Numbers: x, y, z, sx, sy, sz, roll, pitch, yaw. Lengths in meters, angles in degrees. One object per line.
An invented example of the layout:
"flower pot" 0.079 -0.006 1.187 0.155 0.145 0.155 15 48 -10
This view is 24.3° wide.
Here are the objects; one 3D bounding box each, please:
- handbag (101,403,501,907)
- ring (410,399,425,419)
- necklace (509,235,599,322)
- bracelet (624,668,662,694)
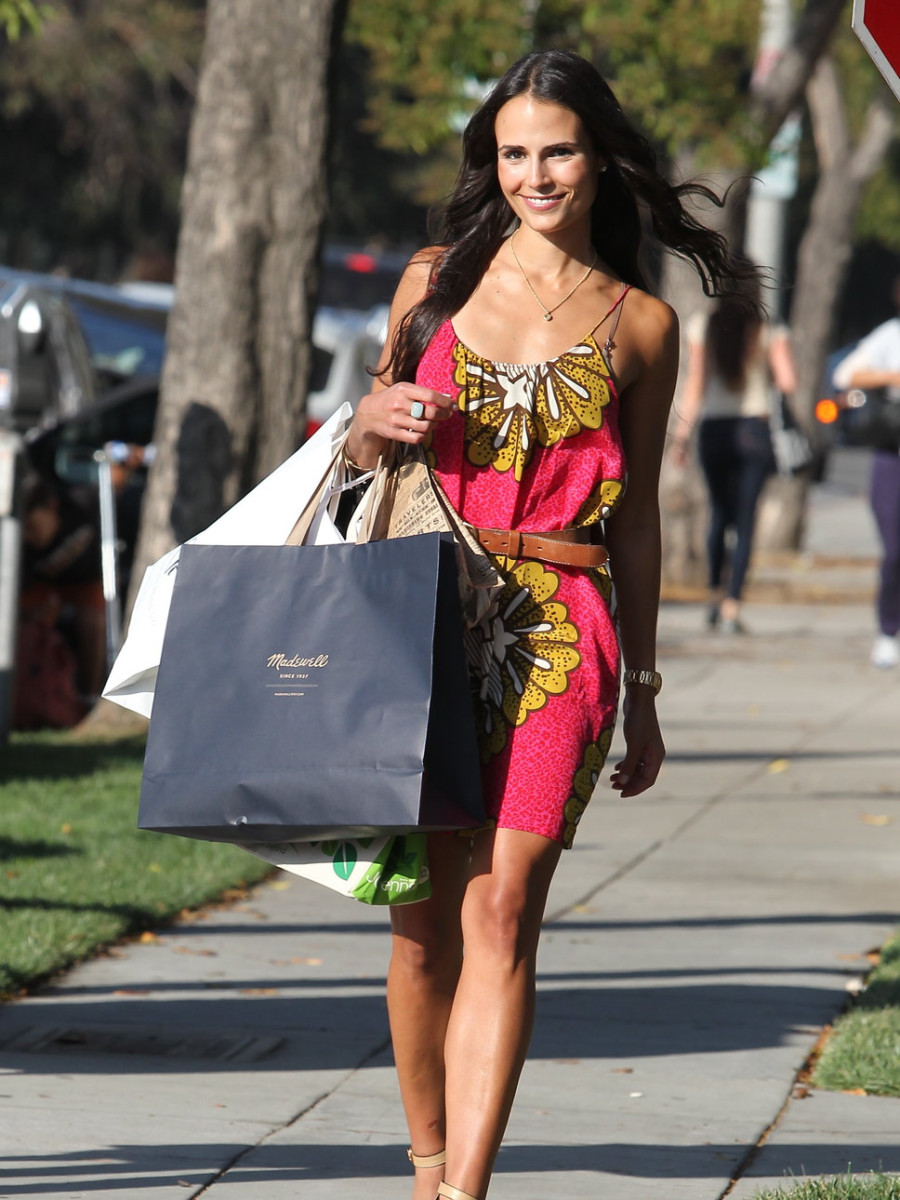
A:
"handbag" -0.253 0.089 3.424 0.691 0.806 0.480 3 6 13
"ring" -0.050 -0.296 3.244 0.024 0.023 0.006 9 5 24
"necklace" 0.164 -0.539 3.496 0.163 0.127 0.041 11 -21 -10
"bracelet" 0.343 0.148 3.752 0.070 0.034 0.064 5 -12 -17
